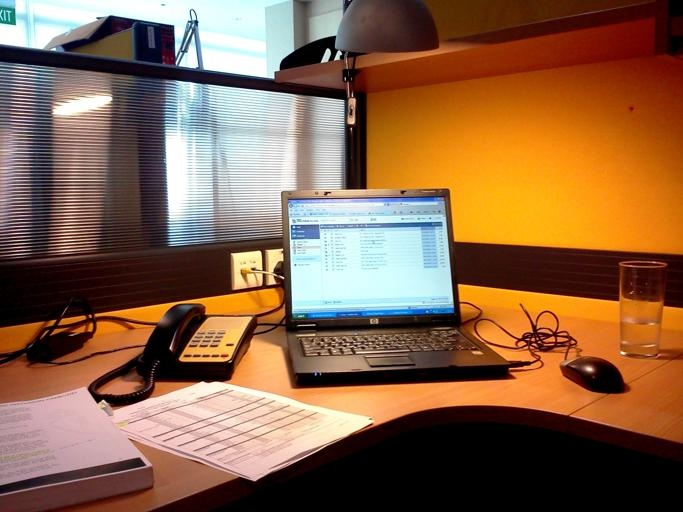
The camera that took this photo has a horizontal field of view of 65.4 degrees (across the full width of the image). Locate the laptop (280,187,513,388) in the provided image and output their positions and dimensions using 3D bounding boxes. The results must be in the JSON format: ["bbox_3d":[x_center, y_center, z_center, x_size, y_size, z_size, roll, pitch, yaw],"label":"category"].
[{"bbox_3d":[0.068,0.042,1.263,0.684,0.355,0.464,-1,11,-9],"label":"laptop"}]

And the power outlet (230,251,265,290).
[{"bbox_3d":[-0.277,0.039,1.532,0.155,0.108,0.050,-3,4,-41],"label":"power outlet"}]

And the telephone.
[{"bbox_3d":[-0.294,0.166,1.130,0.190,0.061,0.194,1,14,4],"label":"telephone"}]

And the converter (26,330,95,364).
[{"bbox_3d":[-0.625,0.206,1.190,0.060,0.024,0.096,3,7,20],"label":"converter"}]

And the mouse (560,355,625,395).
[{"bbox_3d":[0.470,0.219,1.006,0.066,0.027,0.098,-4,13,-19],"label":"mouse"}]
